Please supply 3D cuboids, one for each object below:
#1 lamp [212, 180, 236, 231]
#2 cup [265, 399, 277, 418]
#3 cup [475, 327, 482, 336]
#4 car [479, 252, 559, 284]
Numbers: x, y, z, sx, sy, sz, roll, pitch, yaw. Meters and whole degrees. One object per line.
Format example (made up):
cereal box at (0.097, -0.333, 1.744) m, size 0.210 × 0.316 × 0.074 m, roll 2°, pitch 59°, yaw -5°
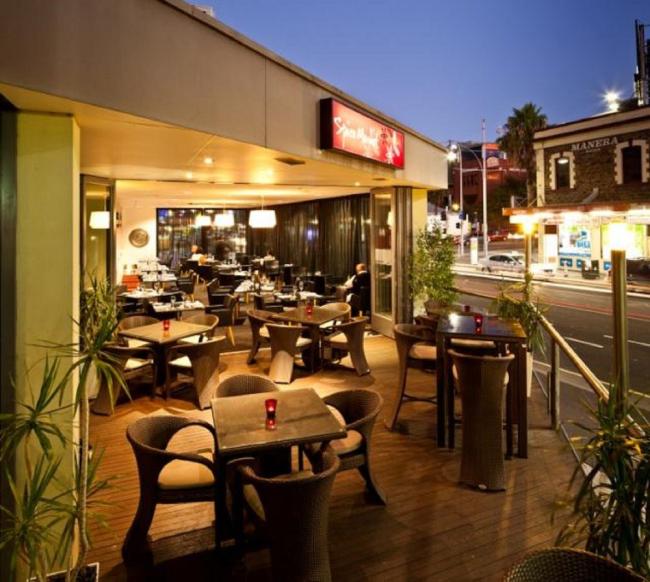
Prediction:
lamp at (-2.933, -2.492, 15.110) m, size 1.033 × 1.459 × 1.160 m, roll 0°, pitch 0°, yaw -3°
cup at (-0.365, 0.807, 3.611) m, size 0.096 × 0.138 × 0.112 m, roll 1°, pitch -4°, yaw -5°
cup at (1.408, 0.375, 4.824) m, size 0.054 × 0.076 × 0.061 m, roll 1°, pitch 0°, yaw 14°
car at (8.034, -0.968, 21.734) m, size 1.214 × 1.038 × 2.731 m, roll -7°, pitch 7°, yaw -32°
